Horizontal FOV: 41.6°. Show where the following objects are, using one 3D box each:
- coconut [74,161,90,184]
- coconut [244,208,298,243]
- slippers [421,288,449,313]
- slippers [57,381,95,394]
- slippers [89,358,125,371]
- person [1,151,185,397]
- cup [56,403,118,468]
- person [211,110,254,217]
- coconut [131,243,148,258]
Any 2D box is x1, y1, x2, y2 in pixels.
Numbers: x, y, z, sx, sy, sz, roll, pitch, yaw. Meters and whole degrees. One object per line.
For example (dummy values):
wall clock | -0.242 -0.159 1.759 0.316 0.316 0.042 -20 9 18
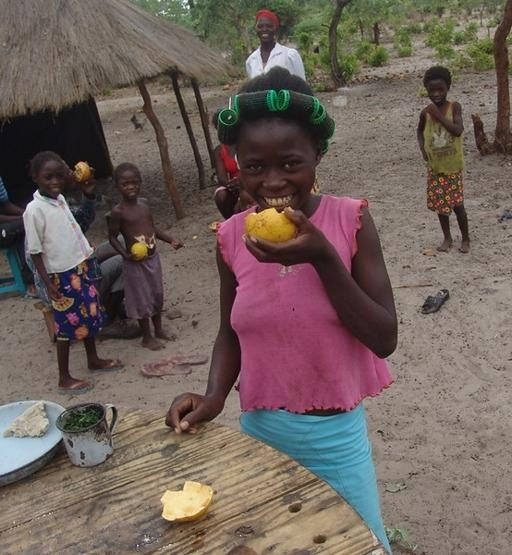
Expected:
coconut | -1.351 -0.812 5.166 0.138 0.148 0.157 23 14 24
coconut | 0.026 -0.157 1.984 0.116 0.084 0.196 -19 20 -22
slippers | 1.486 0.181 5.582 0.140 0.114 0.352 -40 -2 38
slippers | -1.370 0.811 5.066 0.197 0.063 0.103 -1 14 2
slippers | -1.201 0.689 5.406 0.210 0.061 0.109 -1 14 -4
person | -1.291 -0.021 4.914 0.663 1.731 0.567 1 9 26
cup | -0.545 0.503 2.192 0.155 0.142 0.223 -1 9 1
person | -0.160 -0.763 4.814 0.299 0.674 0.385 -3 35 24
coconut | -0.920 -0.226 5.490 0.137 0.145 0.128 -3 2 1
